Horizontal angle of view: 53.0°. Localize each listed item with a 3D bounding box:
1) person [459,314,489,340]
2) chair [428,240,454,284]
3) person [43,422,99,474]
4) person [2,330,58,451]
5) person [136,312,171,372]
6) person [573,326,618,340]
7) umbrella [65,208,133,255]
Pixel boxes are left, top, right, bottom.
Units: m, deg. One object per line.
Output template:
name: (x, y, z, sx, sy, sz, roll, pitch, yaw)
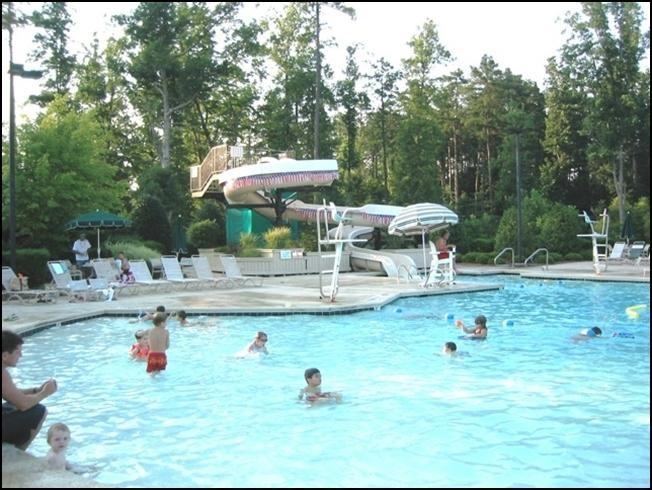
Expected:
person: (3.201, 1.744, 14.160, 0.632, 0.485, 0.969, -1, 2, 12)
chair: (3.727, 0.587, 21.082, 0.819, 1.350, 2.168, -1, 2, 12)
person: (-3.351, 2.662, 8.443, 0.522, 0.718, 0.779, -1, 2, 10)
person: (-3.720, 1.792, 8.095, 0.574, 1.522, 0.336, -3, 3, -27)
person: (-2.978, 1.734, 11.654, 0.379, 1.118, 0.666, -3, 3, -32)
person: (5.647, 1.852, 13.814, 0.913, 0.193, 0.447, -2, 2, -9)
umbrella: (-7.802, -0.805, 22.209, 2.041, 1.939, 2.171, 2, 1, 11)
